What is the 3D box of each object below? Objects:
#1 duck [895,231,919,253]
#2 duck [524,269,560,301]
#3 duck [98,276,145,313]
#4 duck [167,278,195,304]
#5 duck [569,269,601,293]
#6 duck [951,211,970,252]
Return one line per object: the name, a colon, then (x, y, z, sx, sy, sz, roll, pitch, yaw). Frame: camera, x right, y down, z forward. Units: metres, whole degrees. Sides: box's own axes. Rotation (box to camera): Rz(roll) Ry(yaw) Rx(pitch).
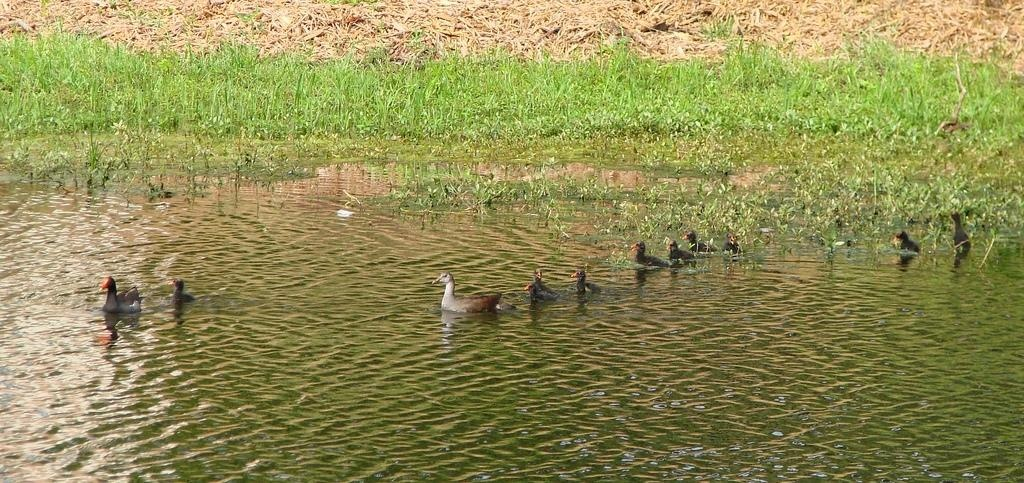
duck: (7.965, 0.032, 23.189, 0.642, 0.166, 0.268, 22, -37, -11)
duck: (0.564, 0.798, 21.518, 0.592, 0.554, 0.518, -3, 9, -4)
duck: (-7.148, 0.945, 21.059, 0.693, 0.664, 0.630, -5, 10, -16)
duck: (-6.106, 0.900, 21.317, 0.406, 0.444, 0.494, -6, 10, -19)
duck: (1.398, 0.747, 21.672, 0.511, 0.403, 0.529, -2, 9, 1)
duck: (9.172, -0.215, 23.495, 0.343, 0.728, 0.888, 1, 9, 18)
